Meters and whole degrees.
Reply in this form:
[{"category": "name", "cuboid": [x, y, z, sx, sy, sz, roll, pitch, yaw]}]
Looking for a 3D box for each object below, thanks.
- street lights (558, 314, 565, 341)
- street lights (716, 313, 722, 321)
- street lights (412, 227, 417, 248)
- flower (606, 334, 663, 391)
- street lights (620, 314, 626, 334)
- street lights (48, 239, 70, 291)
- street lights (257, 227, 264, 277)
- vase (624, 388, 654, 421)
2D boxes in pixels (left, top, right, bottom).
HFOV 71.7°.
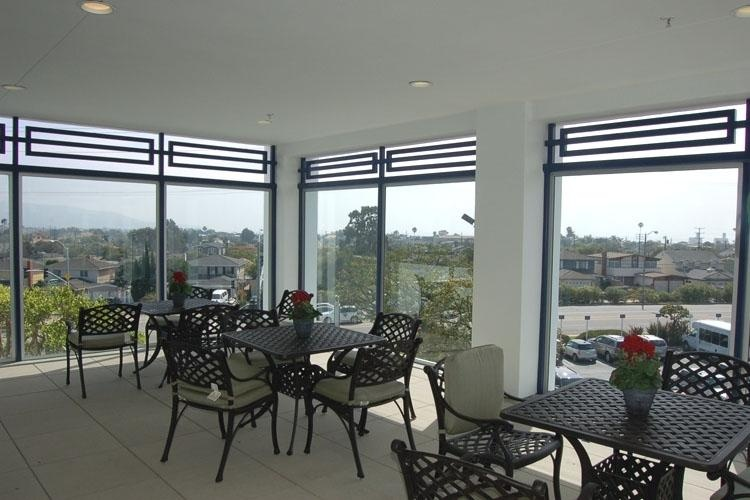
[{"category": "street lights", "cuboid": [2.284, 0.931, 6.357, 0.089, 0.314, 0.026, 10, 14, 43]}, {"category": "street lights", "cuboid": [3.612, 0.690, 5.428, 0.050, 0.078, 0.012, 6, 11, 30]}, {"category": "street lights", "cuboid": [0.586, -0.208, 7.639, 0.051, 0.270, 0.104, -7, 12, -37]}, {"category": "flower", "cuboid": [1.938, 0.868, 3.819, 0.370, 0.390, 0.349, -13, -2, -25]}, {"category": "street lights", "cuboid": [2.828, 0.808, 5.916, 0.063, 0.200, 0.033, 10, 14, 43]}, {"category": "street lights", "cuboid": [-4.659, 0.180, 7.732, 0.196, 0.698, 0.137, -5, 12, -31]}, {"category": "street lights", "cuboid": [-2.075, 0.045, 9.478, 0.096, 0.766, 0.178, 8, 12, 33]}, {"category": "vase", "cuboid": [1.965, 1.099, 3.837, 0.226, 0.218, 0.230, -3, 2, 41]}]
